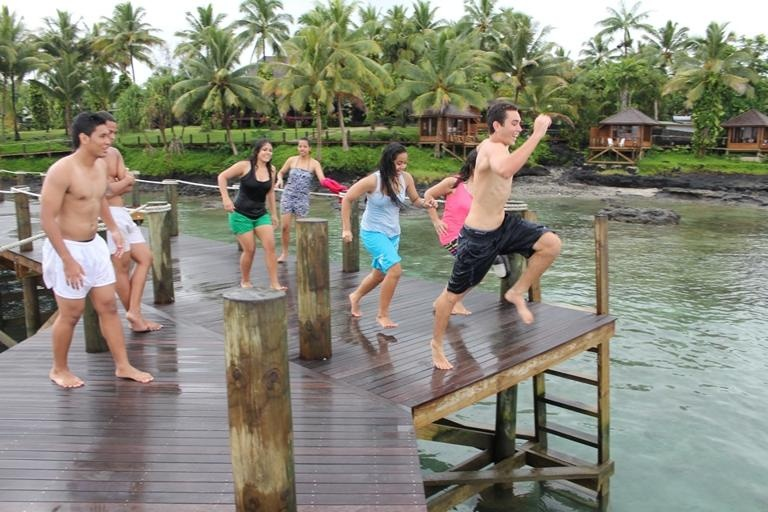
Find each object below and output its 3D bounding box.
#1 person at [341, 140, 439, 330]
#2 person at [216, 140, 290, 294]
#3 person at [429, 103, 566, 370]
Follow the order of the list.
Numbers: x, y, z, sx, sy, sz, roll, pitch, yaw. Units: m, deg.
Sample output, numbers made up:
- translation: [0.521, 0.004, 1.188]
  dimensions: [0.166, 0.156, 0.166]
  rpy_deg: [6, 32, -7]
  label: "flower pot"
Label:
- translation: [0.009, -0.318, 10.301]
  dimensions: [1.052, 2.555, 0.773]
  rpy_deg: [10, 18, 38]
  label: "person"
- translation: [-2.113, -0.661, 11.588]
  dimensions: [0.899, 2.357, 1.498]
  rpy_deg: [-3, 13, -11]
  label: "person"
- translation: [1.345, -0.216, 8.885]
  dimensions: [1.485, 3.281, 0.809]
  rpy_deg: [2, 14, 11]
  label: "person"
